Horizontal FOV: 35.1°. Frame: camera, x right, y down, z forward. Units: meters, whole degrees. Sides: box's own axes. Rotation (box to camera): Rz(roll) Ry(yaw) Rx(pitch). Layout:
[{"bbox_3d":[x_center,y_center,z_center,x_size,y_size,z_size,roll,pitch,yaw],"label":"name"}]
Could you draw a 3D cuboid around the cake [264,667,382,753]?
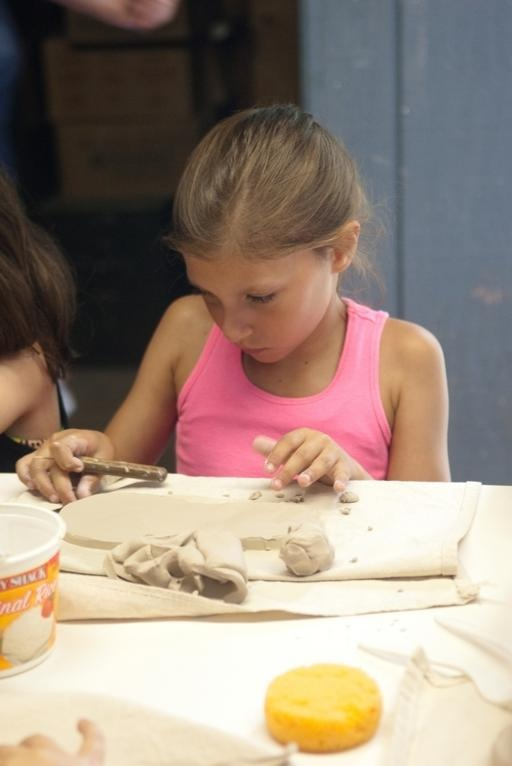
[{"bbox_3d":[0.046,0.222,0.562,0.080,0.024,0.076,-3,17,-3],"label":"cake"}]
